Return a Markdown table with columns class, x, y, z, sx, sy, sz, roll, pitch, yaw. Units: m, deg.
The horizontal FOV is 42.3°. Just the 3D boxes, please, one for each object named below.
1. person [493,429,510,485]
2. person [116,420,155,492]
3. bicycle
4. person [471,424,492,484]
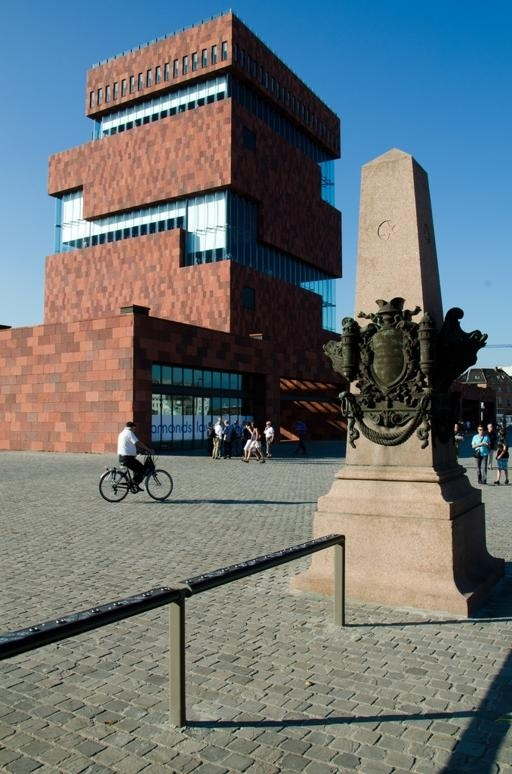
| class | x | y | z | sx | sy | sz | roll | pitch | yaw |
| --- | --- | --- | --- | --- | --- | --- | --- | --- | --- |
| person | 6.528 | 1.879 | 17.543 | 0.342 | 1.474 | 3.938 | -1 | -3 | 20 |
| person | -2.448 | 1.446 | 13.168 | 0.574 | 1.427 | 1.851 | 0 | -3 | -11 |
| bicycle | -2.446 | 1.823 | 13.414 | 1.479 | 1.073 | 0.823 | -3 | 4 | -10 |
| person | 6.099 | 1.845 | 17.856 | 0.405 | 1.510 | 2.638 | -1 | -3 | 18 |
